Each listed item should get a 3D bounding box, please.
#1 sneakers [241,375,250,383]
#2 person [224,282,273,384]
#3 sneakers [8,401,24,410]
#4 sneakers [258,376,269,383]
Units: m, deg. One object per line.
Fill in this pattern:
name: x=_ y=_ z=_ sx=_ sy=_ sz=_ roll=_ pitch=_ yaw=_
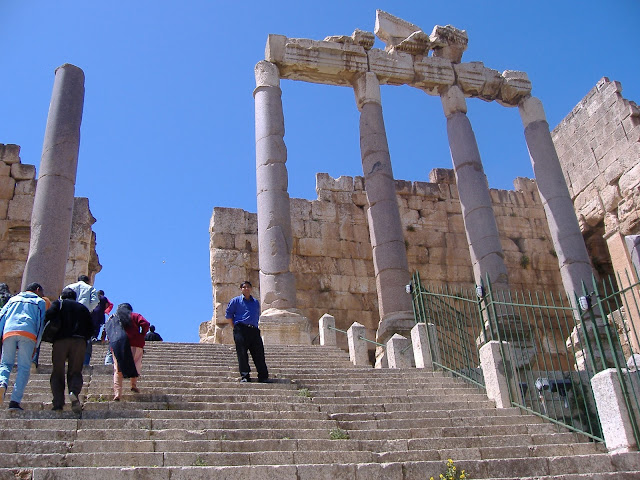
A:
sneakers: x=-1.090 y=2.031 z=6.978 sx=0.175 sy=0.114 sz=0.063 roll=12 pitch=-24 yaw=-24
person: x=-1.143 y=1.418 z=7.472 sx=0.668 sy=1.686 sz=0.668 roll=0 pitch=-31 yaw=-7
sneakers: x=-3.361 y=1.821 z=5.246 sx=0.135 sy=0.123 sz=0.154 roll=16 pitch=-37 yaw=-29
sneakers: x=-0.838 y=2.063 z=7.076 sx=0.123 sy=0.070 sz=0.124 roll=-1 pitch=-6 yaw=-7
